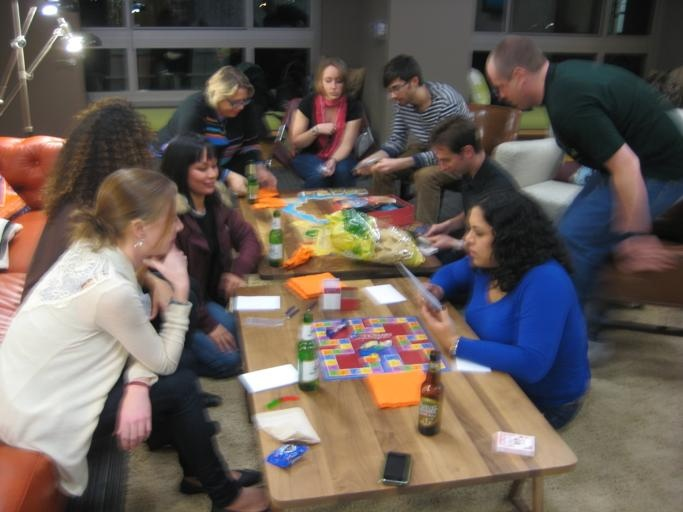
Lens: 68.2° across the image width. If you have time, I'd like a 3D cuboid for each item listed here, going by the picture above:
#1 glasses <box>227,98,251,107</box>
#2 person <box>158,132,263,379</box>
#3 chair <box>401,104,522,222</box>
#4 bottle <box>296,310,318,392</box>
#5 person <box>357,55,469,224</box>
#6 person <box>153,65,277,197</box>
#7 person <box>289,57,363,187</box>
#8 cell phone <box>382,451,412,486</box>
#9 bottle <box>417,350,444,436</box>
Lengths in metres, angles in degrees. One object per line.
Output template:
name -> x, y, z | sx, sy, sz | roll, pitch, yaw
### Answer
glasses -> -0.768, -1.136, 3.694 | 0.097, 0.029, 0.097 | -19, 42, -31
person -> -0.683, 0.007, 2.662 | 0.658, 1.197, 0.568 | 22, 27, 37
chair -> 0.818, -0.781, 4.266 | 0.932, 1.218, 0.793 | -9, 22, -27
bottle -> -0.115, 0.326, 1.664 | 0.086, 0.341, 0.087 | 0, 29, 0
person -> 0.581, -0.791, 4.135 | 0.962, 1.601, 0.739 | -19, 26, -39
person -> -0.917, -0.991, 3.907 | 0.691, 0.974, 0.973 | -13, 47, -30
person -> -0.125, -1.150, 4.361 | 0.665, 1.056, 0.664 | -1, 18, -4
cell phone -> 0.143, 0.574, 1.350 | 0.075, 0.025, 0.106 | 3, 26, 17
bottle -> 0.264, 0.373, 1.479 | 0.067, 0.267, 0.141 | 4, 18, 11
